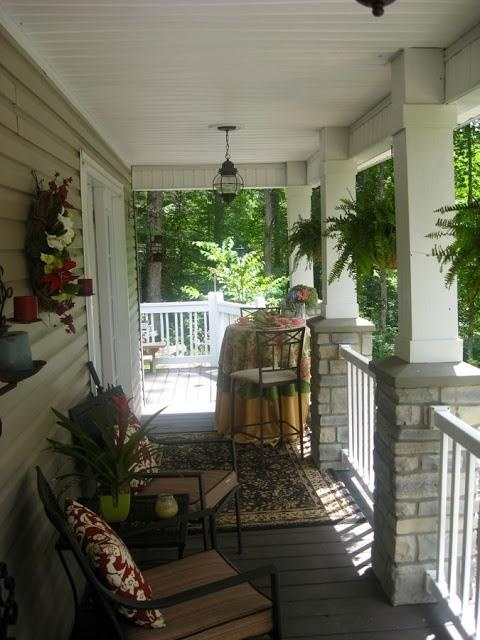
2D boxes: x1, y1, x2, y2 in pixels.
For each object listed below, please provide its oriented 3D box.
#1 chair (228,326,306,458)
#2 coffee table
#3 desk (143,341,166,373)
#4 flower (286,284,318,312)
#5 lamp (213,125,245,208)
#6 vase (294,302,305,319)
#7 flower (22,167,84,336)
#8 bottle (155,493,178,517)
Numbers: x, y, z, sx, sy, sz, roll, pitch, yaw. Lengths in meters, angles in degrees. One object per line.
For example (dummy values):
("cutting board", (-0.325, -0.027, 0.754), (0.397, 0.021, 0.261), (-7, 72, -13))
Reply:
("chair", (0.226, 0.642, 4.322), (0.609, 1.120, 0.605), (-2, -3, -16))
("coffee table", (0.178, 0.492, 4.785), (0.747, 0.961, 0.728), (-5, 5, 3))
("desk", (-1.357, 0.561, 7.782), (0.315, 0.503, 1.008), (-5, 5, -11))
("flower", (0.641, -0.215, 5.112), (0.252, 0.216, 0.257), (-8, -14, 34))
("lamp", (-0.096, -1.334, 4.403), (0.247, 0.710, 0.246), (-1, 4, -14))
("vase", (0.631, -0.096, 5.056), (0.133, 0.157, 0.062), (-6, 5, -24))
("flower", (-0.774, -0.280, 2.037), (0.160, 0.675, 0.297), (-1, 0, 0))
("bottle", (-0.286, 0.717, 1.922), (0.077, 0.087, 0.076), (0, 3, -3))
